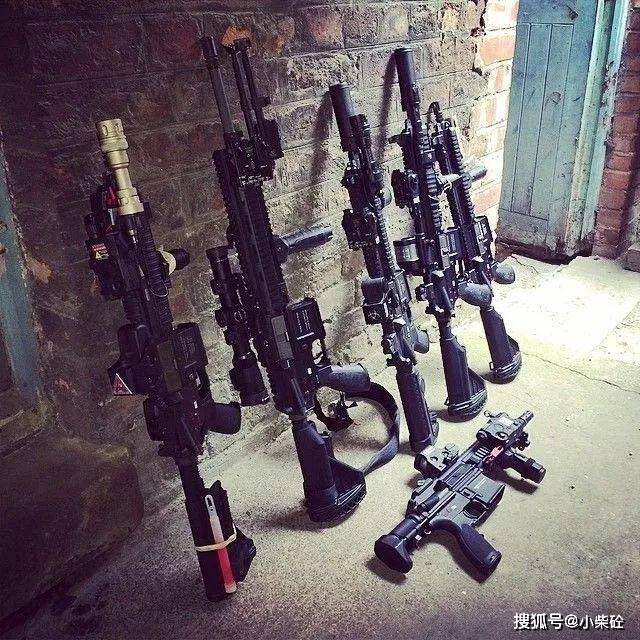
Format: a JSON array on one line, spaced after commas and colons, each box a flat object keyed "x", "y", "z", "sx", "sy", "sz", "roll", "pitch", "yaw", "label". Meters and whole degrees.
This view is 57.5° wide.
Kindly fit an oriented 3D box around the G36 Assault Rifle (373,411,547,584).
[{"x": 0.527, "y": 0.656, "z": 2.215, "sx": 0.512, "sy": 0.195, "sz": 0.503, "roll": -41, "pitch": 31, "yaw": -14, "label": "G36 Assault Rifle"}]

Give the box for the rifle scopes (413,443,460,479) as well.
[{"x": 0.462, "y": 0.566, "z": 2.344, "sx": 0.099, "sy": 0.089, "sz": 0.175, "roll": 20, "pitch": 32, "yaw": 32, "label": "rifle scopes"}]

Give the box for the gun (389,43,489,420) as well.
[{"x": 0.561, "y": -0.440, "z": 2.813, "sx": 0.215, "sy": 1.897, "sz": 0.596, "roll": -6, "pitch": 7, "yaw": 33, "label": "gun"}]

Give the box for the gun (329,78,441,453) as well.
[{"x": 0.281, "y": -0.267, "z": 2.636, "sx": 0.213, "sy": 1.700, "sz": 0.544, "roll": -12, "pitch": 0, "yaw": 23, "label": "gun"}]

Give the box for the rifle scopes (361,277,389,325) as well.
[{"x": 0.214, "y": -0.074, "z": 2.429, "sx": 0.093, "sy": 0.167, "sz": 0.098, "roll": -14, "pitch": -2, "yaw": 40, "label": "rifle scopes"}]

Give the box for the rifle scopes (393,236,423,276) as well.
[{"x": 0.397, "y": -0.279, "z": 2.701, "sx": 0.130, "sy": 0.152, "sz": 0.145, "roll": -12, "pitch": 13, "yaw": 17, "label": "rifle scopes"}]

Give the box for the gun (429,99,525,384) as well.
[{"x": 0.837, "y": -0.416, "z": 3.163, "sx": 0.256, "sy": 1.826, "sz": 0.602, "roll": -14, "pitch": -4, "yaw": 14, "label": "gun"}]

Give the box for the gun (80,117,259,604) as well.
[{"x": -0.529, "y": 0.124, "z": 1.994, "sx": 0.297, "sy": 1.613, "sz": 0.579, "roll": -9, "pitch": 10, "yaw": 16, "label": "gun"}]

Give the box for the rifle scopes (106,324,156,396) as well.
[{"x": -0.580, "y": 0.139, "z": 1.805, "sx": 0.147, "sy": 0.231, "sz": 0.066, "roll": -18, "pitch": 22, "yaw": -20, "label": "rifle scopes"}]
